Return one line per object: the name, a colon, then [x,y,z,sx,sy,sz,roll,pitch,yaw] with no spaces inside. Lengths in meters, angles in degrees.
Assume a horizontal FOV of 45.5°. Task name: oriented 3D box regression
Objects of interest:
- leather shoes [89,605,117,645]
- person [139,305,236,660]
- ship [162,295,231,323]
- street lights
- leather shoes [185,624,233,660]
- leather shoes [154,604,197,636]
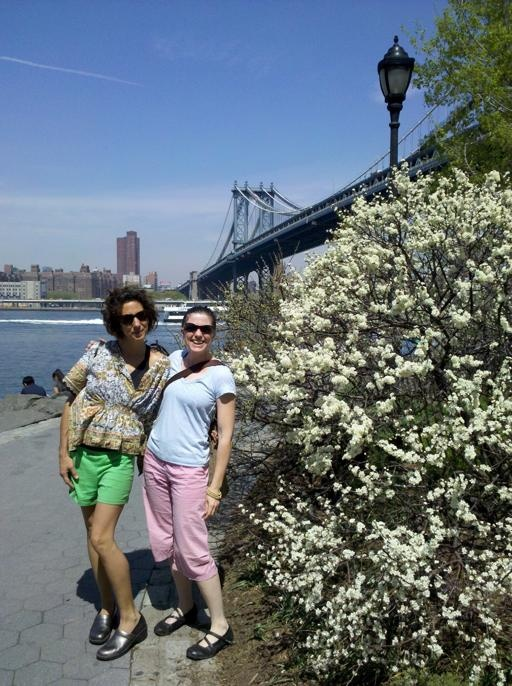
leather shoes: [-0.748,1.369,2.911,0.072,0.053,0.175,2,1,-4]
person: [-0.321,0.647,2.983,0.361,1.431,0.494,3,2,-45]
ship: [-5.052,-3.539,60.251,9.032,2.809,6.159,0,5,4]
street lights: [1.418,-2.517,6.335,0.357,1.454,0.882,5,1,11]
leather shoes: [-0.223,1.419,2.903,0.210,0.076,0.105,-5,0,-40]
leather shoes: [-0.404,1.404,3.089,0.081,0.077,0.209,-8,-8,44]
